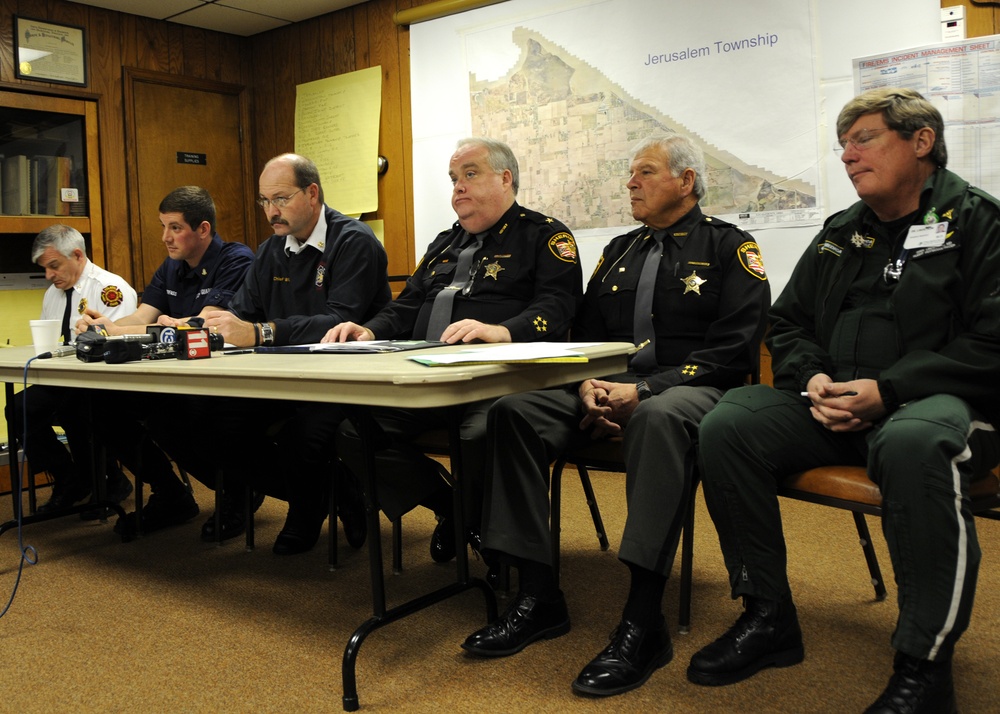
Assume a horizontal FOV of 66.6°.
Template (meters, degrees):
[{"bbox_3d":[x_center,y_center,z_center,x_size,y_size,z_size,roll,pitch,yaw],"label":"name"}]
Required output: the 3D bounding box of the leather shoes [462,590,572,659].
[{"bbox_3d":[0.058,0.789,2.318,0.367,0.152,0.129,-5,1,-30],"label":"leather shoes"}]

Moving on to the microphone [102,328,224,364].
[{"bbox_3d":[-1.061,-0.047,2.371,0.229,0.070,0.153,-6,4,-26],"label":"microphone"}]

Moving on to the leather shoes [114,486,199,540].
[{"bbox_3d":[-1.530,0.698,3.450,0.146,0.172,0.440,-2,2,43],"label":"leather shoes"}]

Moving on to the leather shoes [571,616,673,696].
[{"bbox_3d":[0.334,0.809,2.117,0.330,0.135,0.124,-7,4,-40],"label":"leather shoes"}]

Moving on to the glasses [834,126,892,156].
[{"bbox_3d":[1.066,-0.658,2.211,0.115,0.062,0.085,7,-13,-29],"label":"glasses"}]

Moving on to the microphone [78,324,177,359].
[{"bbox_3d":[-1.192,-0.047,2.401,0.222,0.080,0.155,1,2,21],"label":"microphone"}]

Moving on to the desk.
[{"bbox_3d":[-0.572,0.407,2.391,1.764,0.938,0.707,3,11,29],"label":"desk"}]

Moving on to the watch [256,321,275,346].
[{"bbox_3d":[-0.843,-0.096,2.740,0.082,0.076,0.074,-3,11,-44],"label":"watch"}]

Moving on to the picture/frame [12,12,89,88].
[{"bbox_3d":[-2.794,-1.952,4.706,0.022,0.442,0.598,6,8,39],"label":"picture/frame"}]

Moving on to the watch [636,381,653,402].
[{"bbox_3d":[0.450,0.097,2.384,0.038,0.055,0.054,-14,-26,33],"label":"watch"}]
